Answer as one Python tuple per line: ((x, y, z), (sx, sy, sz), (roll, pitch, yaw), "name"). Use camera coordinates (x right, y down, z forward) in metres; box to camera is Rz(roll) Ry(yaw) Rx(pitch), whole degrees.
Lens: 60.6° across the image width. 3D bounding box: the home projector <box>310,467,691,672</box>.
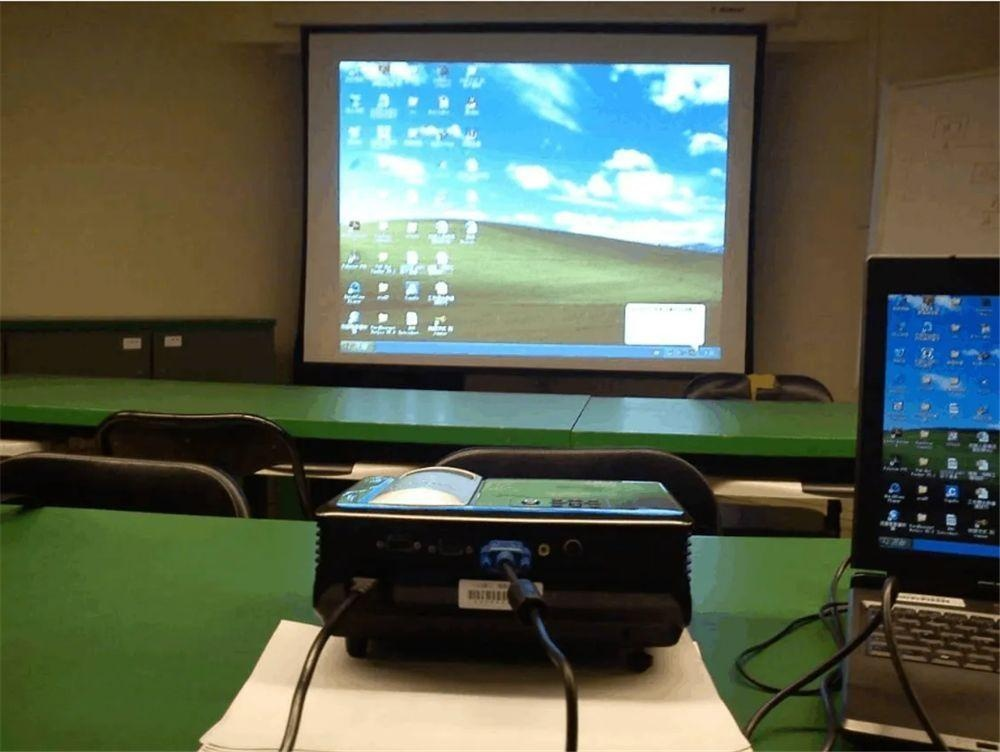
((-0.002, 0.128, 0.700), (0.209, 0.095, 0.188), (2, 3, 2), "home projector")
